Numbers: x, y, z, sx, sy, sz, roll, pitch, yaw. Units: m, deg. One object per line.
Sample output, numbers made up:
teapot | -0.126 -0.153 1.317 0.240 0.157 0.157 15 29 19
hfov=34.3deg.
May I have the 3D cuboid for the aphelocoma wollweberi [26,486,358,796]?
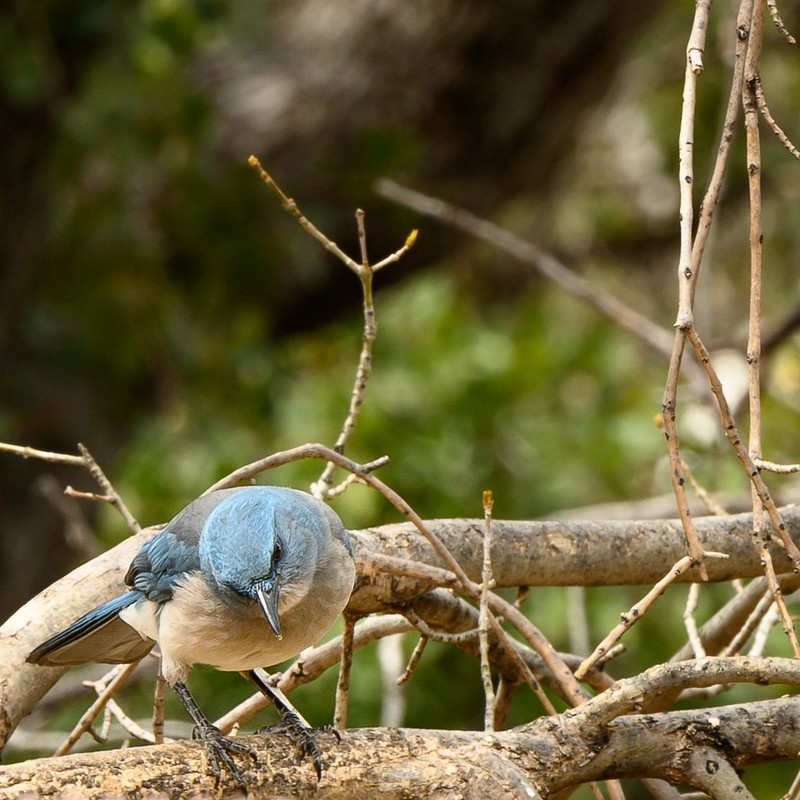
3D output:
aphelocoma wollweberi | -0.473 0.499 3.350 0.401 0.711 1.074 -5 13 -35
